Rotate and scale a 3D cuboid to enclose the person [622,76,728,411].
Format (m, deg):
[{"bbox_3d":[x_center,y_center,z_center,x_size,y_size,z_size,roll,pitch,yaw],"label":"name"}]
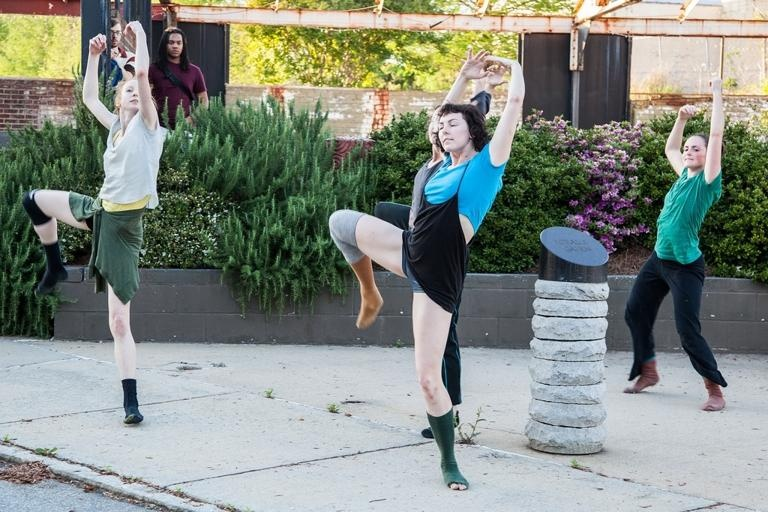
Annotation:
[{"bbox_3d":[3.093,-0.168,10.529,1.050,3.340,1.191,1,8,12],"label":"person"}]

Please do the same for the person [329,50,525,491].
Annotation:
[{"bbox_3d":[0.399,0.114,8.553,1.479,3.542,0.975,1,8,13],"label":"person"}]
